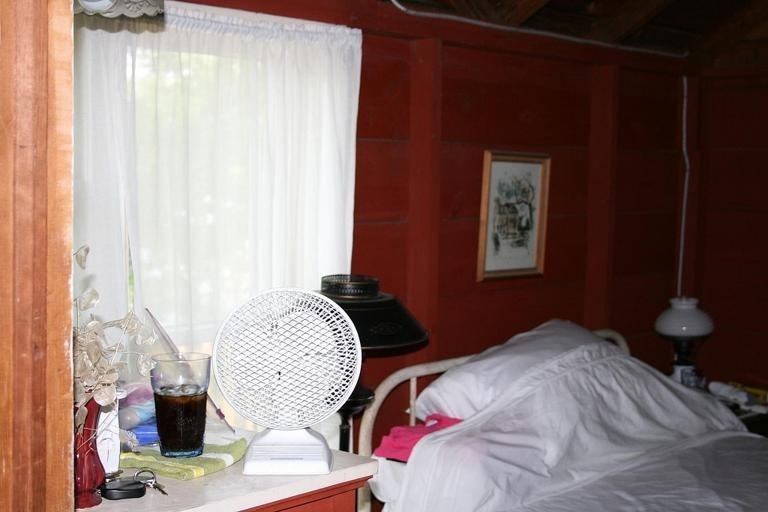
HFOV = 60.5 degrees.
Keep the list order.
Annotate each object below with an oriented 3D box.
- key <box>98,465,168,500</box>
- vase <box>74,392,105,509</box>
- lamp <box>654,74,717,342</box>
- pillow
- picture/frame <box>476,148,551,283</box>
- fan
[{"bbox_3d":[-0.571,0.514,1.511,0.141,0.046,0.116,-1,5,-17],"label":"key"},{"bbox_3d":[-0.628,0.435,1.483,0.043,0.186,0.115,0,7,-19],"label":"vase"},{"bbox_3d":[1.611,-0.145,3.504,0.311,1.557,0.329,8,13,30],"label":"lamp"},{"bbox_3d":[0.432,0.441,2.555,0.677,0.182,0.386,-24,5,-20],"label":"pillow"},{"bbox_3d":[0.620,-0.202,3.146,0.515,0.567,0.035,-2,7,-44],"label":"picture/frame"},{"bbox_3d":[-0.247,0.307,1.672,0.370,0.430,0.220,1,1,-11],"label":"fan"}]
